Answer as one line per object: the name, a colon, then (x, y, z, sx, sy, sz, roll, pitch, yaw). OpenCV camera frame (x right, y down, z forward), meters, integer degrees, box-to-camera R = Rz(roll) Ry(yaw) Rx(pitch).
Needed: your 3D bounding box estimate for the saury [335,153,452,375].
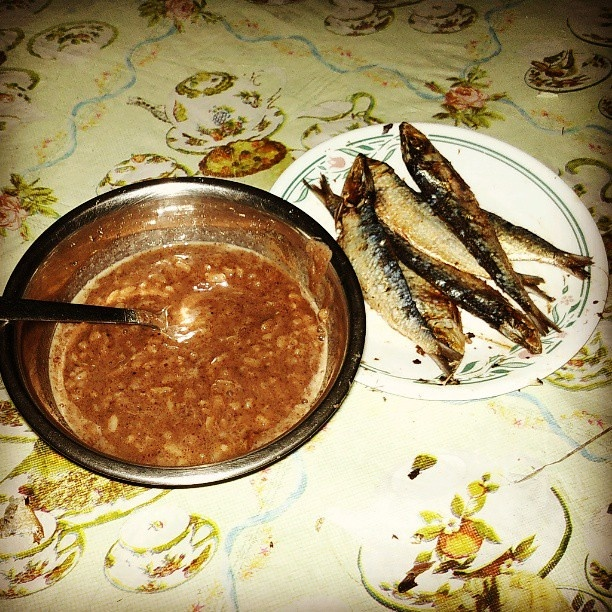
saury: (0.191, -0.085, 1.705, 0.176, 0.199, 0.615, -25, 90, -31)
